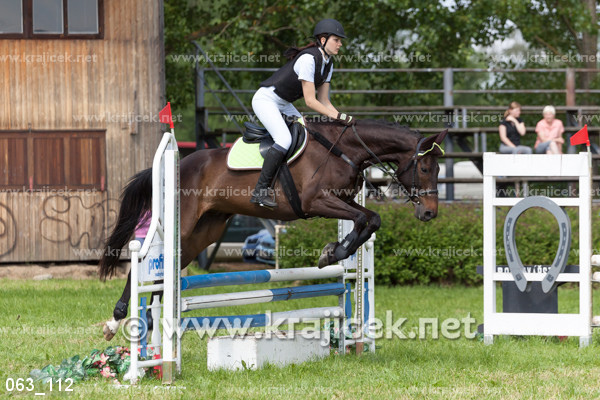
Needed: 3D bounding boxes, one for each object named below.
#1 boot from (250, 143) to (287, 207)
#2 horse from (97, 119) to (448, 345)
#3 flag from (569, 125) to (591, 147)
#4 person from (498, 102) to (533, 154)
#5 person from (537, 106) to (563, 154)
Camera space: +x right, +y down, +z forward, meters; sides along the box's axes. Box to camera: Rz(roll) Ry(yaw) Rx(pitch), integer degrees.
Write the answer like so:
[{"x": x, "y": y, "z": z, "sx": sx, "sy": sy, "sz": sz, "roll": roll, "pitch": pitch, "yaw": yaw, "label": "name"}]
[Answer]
[{"x": -0.546, "y": -0.454, "z": 23.160, "sx": 0.659, "sy": 1.200, "sz": 0.486, "roll": 2, "pitch": 1, "yaw": -7, "label": "boot"}, {"x": -0.333, "y": 0.248, "z": 23.467, "sx": 5.890, "sy": 3.305, "sz": 1.241, "roll": 0, "pitch": 14, "yaw": -2, "label": "horse"}, {"x": 5.459, "y": -1.219, "z": 25.085, "sx": 0.325, "sy": 0.410, "sz": 0.703, "roll": 3, "pitch": 14, "yaw": 8, "label": "flag"}, {"x": 4.718, "y": -1.571, "z": 28.278, "sx": 0.637, "sy": 1.088, "sz": 0.633, "roll": 2, "pitch": 14, "yaw": 5, "label": "person"}, {"x": 5.591, "y": -1.552, "z": 28.461, "sx": 0.457, "sy": 0.960, "sz": 0.792, "roll": -7, "pitch": 16, "yaw": -27, "label": "person"}]
